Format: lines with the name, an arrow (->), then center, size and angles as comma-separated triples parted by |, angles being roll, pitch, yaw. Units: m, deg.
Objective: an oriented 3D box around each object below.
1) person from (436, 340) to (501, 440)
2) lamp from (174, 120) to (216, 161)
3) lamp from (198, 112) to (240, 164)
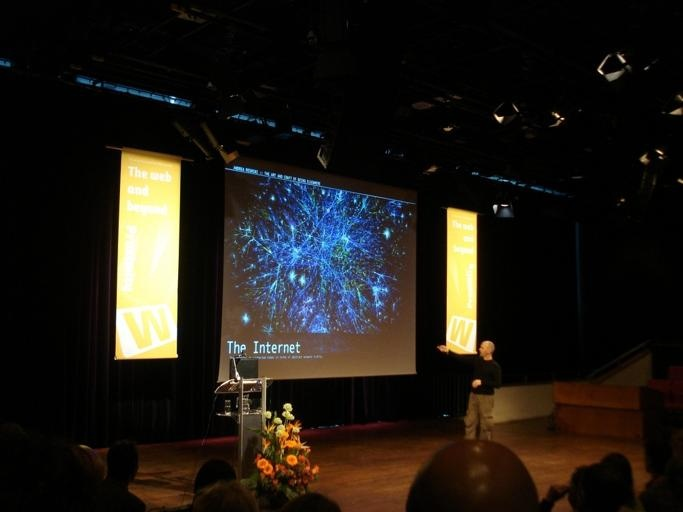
person -> 1.912, 2.176, 8.241 | 0.862, 1.763, 0.573 | 2, 9, 18
lamp -> -2.212, -1.669, 8.367 | 0.232, 0.249, 0.914 | -21, -29, 13
lamp -> -1.852, -1.762, 8.265 | 0.320, 0.242, 0.638 | -34, -43, -2
